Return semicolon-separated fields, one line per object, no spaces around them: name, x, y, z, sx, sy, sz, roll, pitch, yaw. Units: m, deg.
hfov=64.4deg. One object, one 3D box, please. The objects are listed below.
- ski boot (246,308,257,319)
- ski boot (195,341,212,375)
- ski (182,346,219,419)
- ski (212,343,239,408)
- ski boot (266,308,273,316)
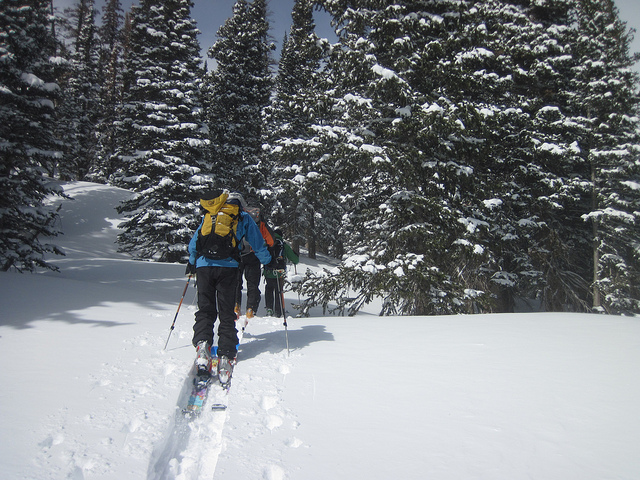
ski boot;-1.709;1.764;12.304;0.195;0.195;0.195;7;-2;-7
ski boot;-2.142;2.121;9.278;0.198;0.659;0.279;-5;-14;0
ski;-2.126;2.529;8.980;0.237;0.228;1.223;9;41;-9
ski;-1.728;2.442;9.083;0.166;0.220;1.237;13;34;-16
ski boot;-1.306;1.834;12.950;0.135;0.160;0.300;4;-2;-6
